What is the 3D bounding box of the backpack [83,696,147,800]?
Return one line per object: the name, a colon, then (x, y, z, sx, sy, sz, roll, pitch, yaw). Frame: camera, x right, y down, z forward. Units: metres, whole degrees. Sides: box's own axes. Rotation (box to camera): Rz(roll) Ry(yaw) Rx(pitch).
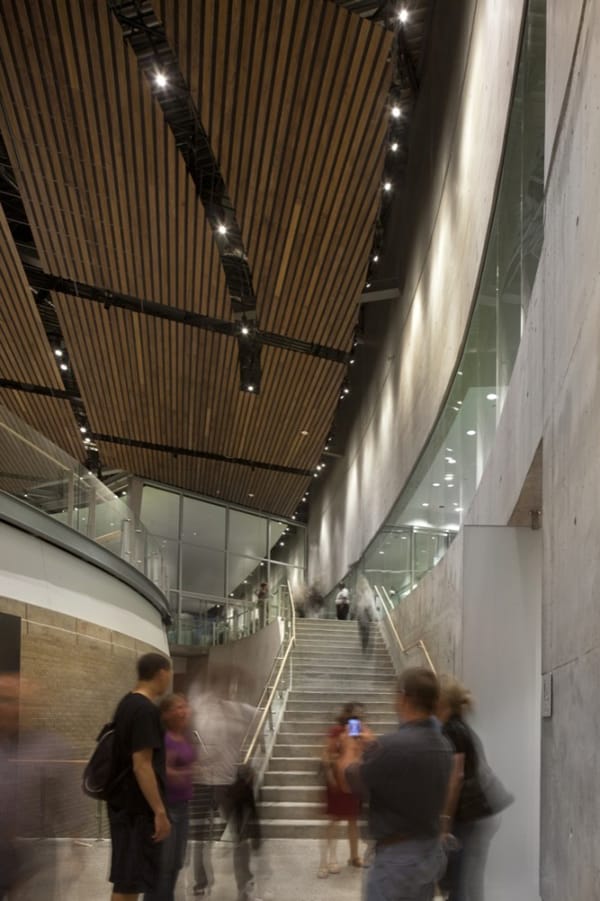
backpack: (-0.728, 1.122, 2.610, 0.137, 0.381, 0.309, 8, -19, -28)
